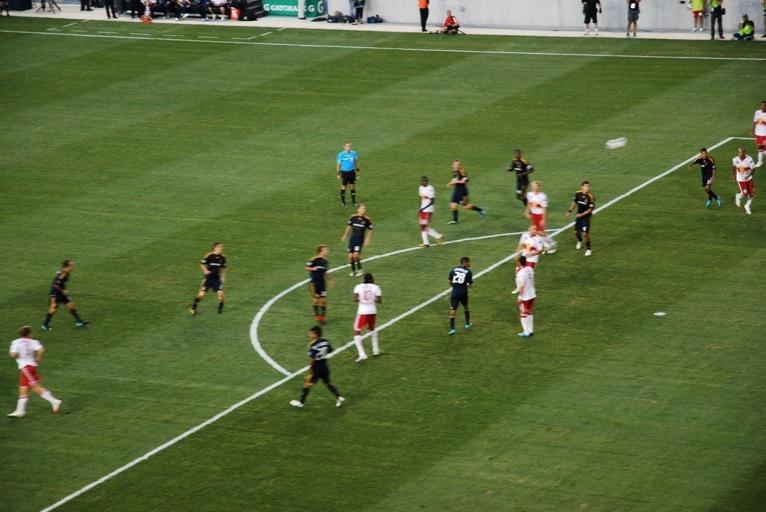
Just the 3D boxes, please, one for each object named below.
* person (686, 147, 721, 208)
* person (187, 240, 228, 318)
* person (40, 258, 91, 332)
[{"bbox_3d":[12.478,-3.009,53.277,1.796,2.099,0.971,2,4,3],"label":"person"},{"bbox_3d":[-6.136,0.752,47.672,1.254,2.570,0.767,-4,17,-9],"label":"person"},{"bbox_3d":[-11.155,1.279,47.386,1.506,2.422,1.313,-4,17,-10],"label":"person"}]
